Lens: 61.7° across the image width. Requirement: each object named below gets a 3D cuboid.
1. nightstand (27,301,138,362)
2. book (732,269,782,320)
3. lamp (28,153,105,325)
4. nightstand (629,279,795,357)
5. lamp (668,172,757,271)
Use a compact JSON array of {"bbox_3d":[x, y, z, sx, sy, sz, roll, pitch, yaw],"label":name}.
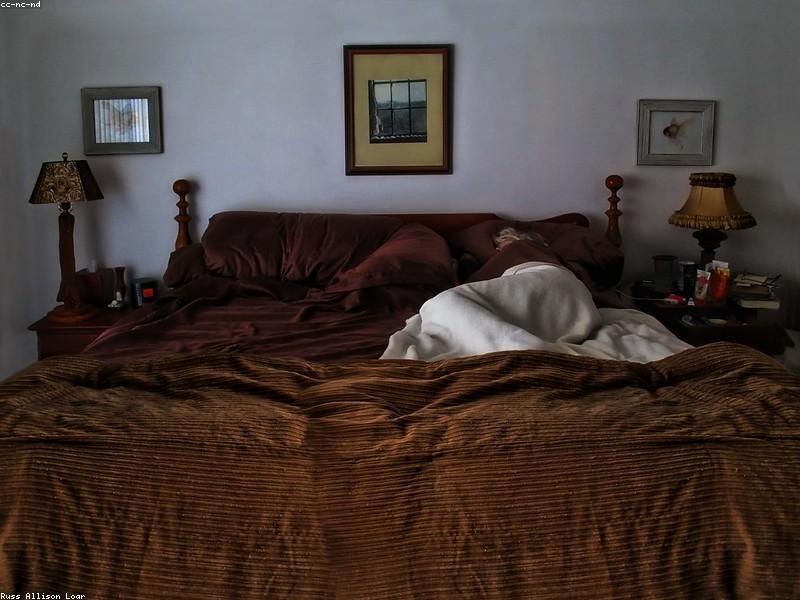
[{"bbox_3d":[-1.682,0.081,3.549,0.486,0.419,0.298,-1,12,-5],"label":"nightstand"},{"bbox_3d":[1.980,-0.068,3.745,0.315,0.114,0.304,3,19,15],"label":"book"},{"bbox_3d":[-1.804,-0.345,3.597,0.348,0.865,0.448,-2,12,-19],"label":"lamp"},{"bbox_3d":[1.682,0.116,3.738,0.480,0.308,0.613,0,13,3],"label":"nightstand"},{"bbox_3d":[1.815,-0.425,3.878,0.497,0.572,0.479,-4,14,-6],"label":"lamp"}]
